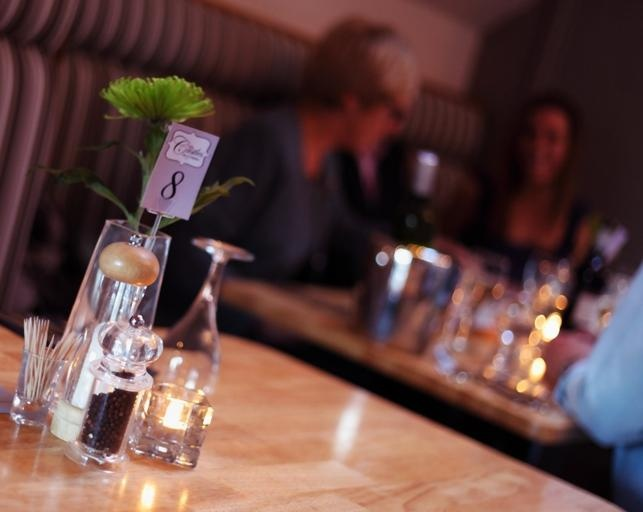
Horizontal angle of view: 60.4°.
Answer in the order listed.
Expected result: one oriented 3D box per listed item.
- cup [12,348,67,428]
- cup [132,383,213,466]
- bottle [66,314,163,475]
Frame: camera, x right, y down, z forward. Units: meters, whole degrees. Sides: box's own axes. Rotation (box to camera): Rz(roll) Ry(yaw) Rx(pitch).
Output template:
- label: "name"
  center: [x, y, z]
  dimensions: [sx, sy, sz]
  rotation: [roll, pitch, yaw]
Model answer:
- label: "cup"
  center: [-0.356, 0.178, 0.732]
  dimensions: [0.064, 0.097, 0.066]
  rotation: [10, -22, 4]
- label: "cup"
  center: [-0.207, 0.231, 0.754]
  dimensions: [0.115, 0.084, 0.112]
  rotation: [15, -7, 2]
- label: "bottle"
  center: [-0.248, 0.156, 0.679]
  dimensions: [0.084, 0.178, 0.094]
  rotation: [10, 6, -13]
